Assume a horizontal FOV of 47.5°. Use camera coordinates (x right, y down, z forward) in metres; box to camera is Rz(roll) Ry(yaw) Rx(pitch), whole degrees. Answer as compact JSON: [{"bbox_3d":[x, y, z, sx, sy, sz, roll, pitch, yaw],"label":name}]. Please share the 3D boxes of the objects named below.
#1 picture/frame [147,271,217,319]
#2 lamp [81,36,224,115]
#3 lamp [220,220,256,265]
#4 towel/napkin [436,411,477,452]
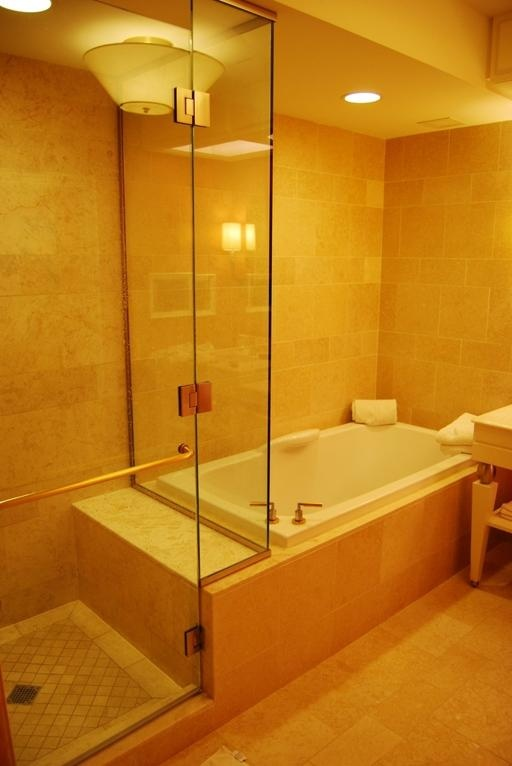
[{"bbox_3d":[-0.192,-0.231,1.549,0.019,0.120,0.222,6,9,38],"label":"picture/frame"},{"bbox_3d":[-0.258,-0.745,1.391,0.207,0.081,0.201,-9,13,-44],"label":"lamp"},{"bbox_3d":[-0.051,-0.419,1.694,0.024,0.092,0.144,5,8,33],"label":"lamp"},{"bbox_3d":[1.037,0.255,3.013,0.183,0.062,0.189,2,19,43],"label":"towel/napkin"}]
